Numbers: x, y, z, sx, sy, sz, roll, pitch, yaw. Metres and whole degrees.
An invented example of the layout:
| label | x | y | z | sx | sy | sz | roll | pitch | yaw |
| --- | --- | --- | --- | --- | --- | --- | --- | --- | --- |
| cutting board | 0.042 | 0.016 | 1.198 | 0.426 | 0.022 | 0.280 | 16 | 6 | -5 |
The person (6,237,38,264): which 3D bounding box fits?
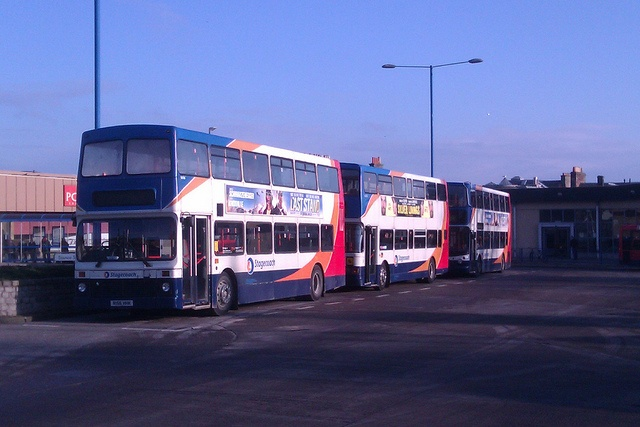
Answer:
| label | x | y | z | sx | sy | sz | roll | pitch | yaw |
| --- | --- | --- | --- | --- | --- | --- | --- | --- | --- |
| person | -19.462 | 2.407 | 46.610 | 0.756 | 1.066 | 1.474 | -2 | -1 | 24 |
